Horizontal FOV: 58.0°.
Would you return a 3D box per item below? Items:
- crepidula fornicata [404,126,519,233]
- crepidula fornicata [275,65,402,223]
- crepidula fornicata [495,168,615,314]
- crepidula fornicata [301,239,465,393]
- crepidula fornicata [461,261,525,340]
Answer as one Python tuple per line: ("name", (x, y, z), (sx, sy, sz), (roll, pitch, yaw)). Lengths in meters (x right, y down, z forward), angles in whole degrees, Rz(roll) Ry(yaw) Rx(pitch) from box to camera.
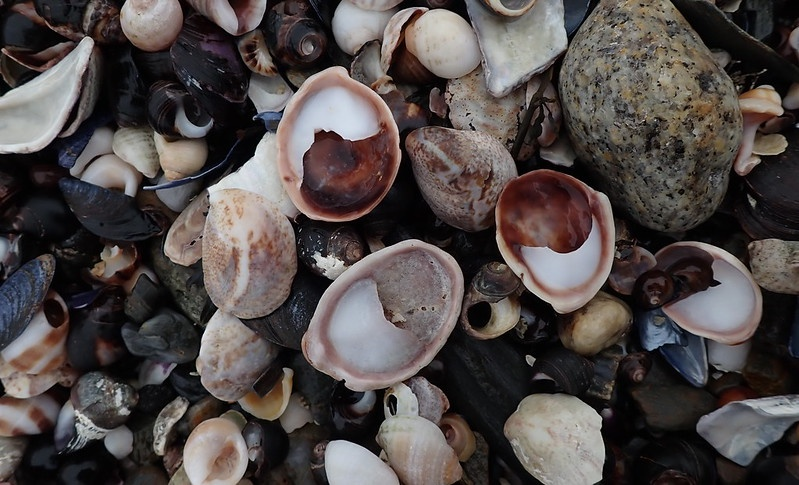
("crepidula fornicata", (0.360, -0.458, 4.506), (0.704, 0.363, 0.577), (28, 82, 5))
("crepidula fornicata", (-0.370, -0.577, 4.517), (0.641, 0.580, 0.836), (-28, 88, 2))
("crepidula fornicata", (0.986, -0.061, 4.515), (0.771, 0.295, 0.875), (-28, 86, 9))
("crepidula fornicata", (-0.081, 0.472, 4.572), (1.115, 0.260, 0.761), (-35, 82, -5))
("crepidula fornicata", (0.599, 0.360, 4.618), (0.368, 0.221, 0.518), (15, 112, 1))
